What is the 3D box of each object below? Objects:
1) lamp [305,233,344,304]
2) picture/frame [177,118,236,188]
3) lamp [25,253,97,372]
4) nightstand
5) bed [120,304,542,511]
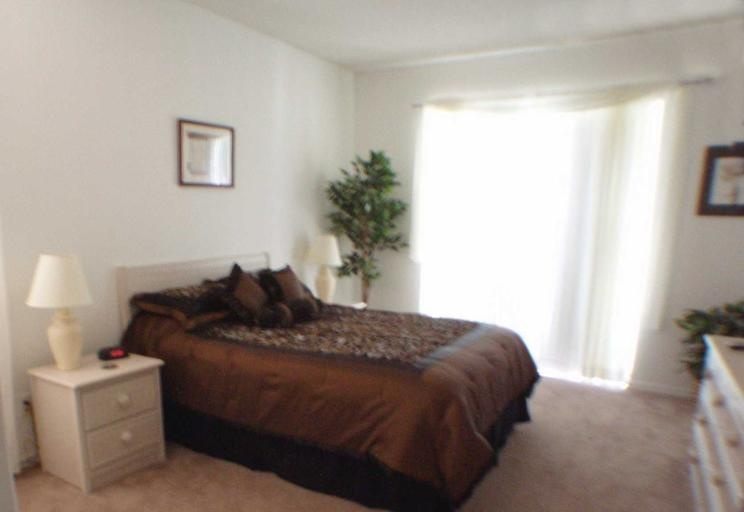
[{"bbox_3d":[-0.545,0.116,5.946,0.360,0.694,0.657,0,9,-8],"label":"lamp"},{"bbox_3d":[-1.526,-0.919,4.958,0.043,0.578,0.610,10,10,33],"label":"picture/frame"},{"bbox_3d":[-2.221,0.411,3.816,0.375,0.843,0.263,5,10,20],"label":"lamp"},{"bbox_3d":[-2.060,1.223,4.090,0.723,0.760,0.769,4,6,38],"label":"nightstand"},{"bbox_3d":[-0.254,1.039,3.903,2.057,0.702,1.481,4,9,29],"label":"bed"}]
